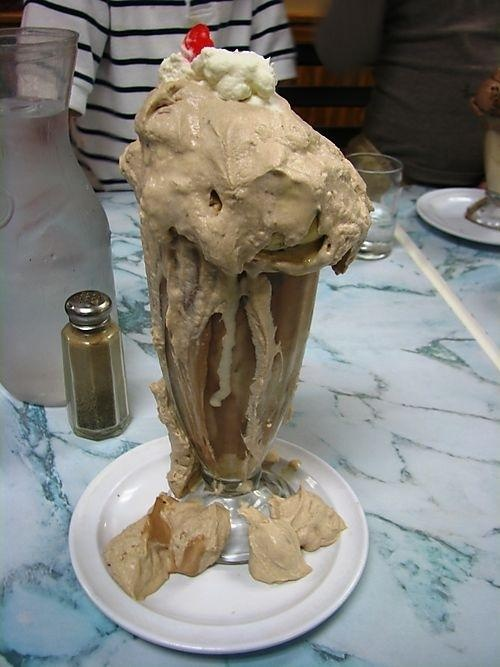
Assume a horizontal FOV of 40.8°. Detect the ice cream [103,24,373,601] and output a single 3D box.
[{"bbox_3d":[-0.011,-0.005,0.723,0.285,0.575,0.287,0,33,-12],"label":"ice cream"}]
